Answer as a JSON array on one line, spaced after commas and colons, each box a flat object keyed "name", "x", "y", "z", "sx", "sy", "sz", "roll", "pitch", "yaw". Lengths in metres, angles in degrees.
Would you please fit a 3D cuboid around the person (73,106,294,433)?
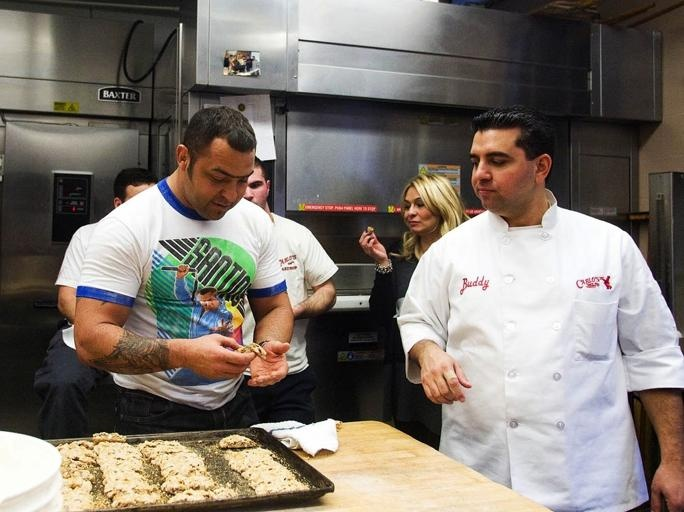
[{"name": "person", "x": -0.526, "y": 0.078, "z": 2.018, "sx": 0.705, "sy": 1.231, "sz": 0.504, "roll": 3, "pitch": 2, "yaw": 1}]

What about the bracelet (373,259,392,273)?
[{"name": "bracelet", "x": 0.237, "y": 0.063, "z": 3.181, "sx": 0.062, "sy": 0.059, "sz": 0.079, "roll": 2, "pitch": -3, "yaw": -11}]

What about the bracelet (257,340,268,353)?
[{"name": "bracelet", "x": -0.287, "y": 0.324, "z": 1.987, "sx": 0.030, "sy": 0.028, "sz": 0.034, "roll": -8, "pitch": -19, "yaw": -26}]
